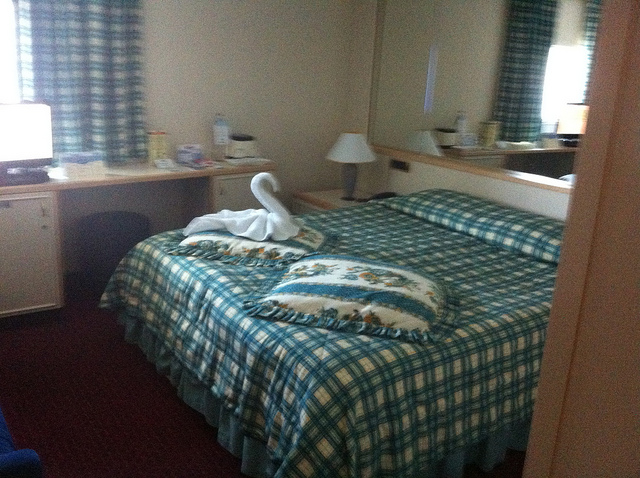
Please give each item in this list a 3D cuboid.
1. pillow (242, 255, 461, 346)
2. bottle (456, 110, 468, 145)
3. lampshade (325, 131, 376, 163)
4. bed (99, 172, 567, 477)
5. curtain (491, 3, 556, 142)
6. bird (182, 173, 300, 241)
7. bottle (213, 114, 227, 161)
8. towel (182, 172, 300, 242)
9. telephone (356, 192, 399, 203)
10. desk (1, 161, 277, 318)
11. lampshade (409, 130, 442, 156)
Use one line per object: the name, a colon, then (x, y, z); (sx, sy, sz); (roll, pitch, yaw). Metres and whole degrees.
pillow: (0.126, 0.250, 1.892); (0.537, 0.079, 0.458); (9, 15, 18)
bottle: (1.055, -0.828, 3.560); (0.052, 0.233, 0.120); (-9, 20, -19)
lampshade: (0.251, -0.778, 3.912); (0.326, 0.163, 0.306); (-10, 19, -29)
bed: (-0.107, 0.266, 2.301); (1.892, 0.761, 1.785); (-10, 22, -32)
curtain: (1.350, -1.105, 3.181); (0.144, 0.889, 0.409); (-14, 22, -30)
bird: (-0.419, -0.190, 2.701); (0.595, 0.285, 0.394); (1, 10, 9)
bottle: (-0.825, -0.819, 3.862); (0.127, 0.359, 0.169); (-9, 20, -21)
towel: (-0.424, -0.195, 2.772); (0.713, 0.338, 0.478); (2, 13, 30)
telephone: (0.486, -0.350, 3.895); (0.214, 0.060, 0.147); (-7, 12, -20)
desk: (-1.173, 0.006, 2.899); (1.164, 0.501, 0.321); (-10, 19, -38)
lampshade: (0.851, -0.766, 3.822); (0.123, 0.142, 0.229); (-10, 18, -27)
